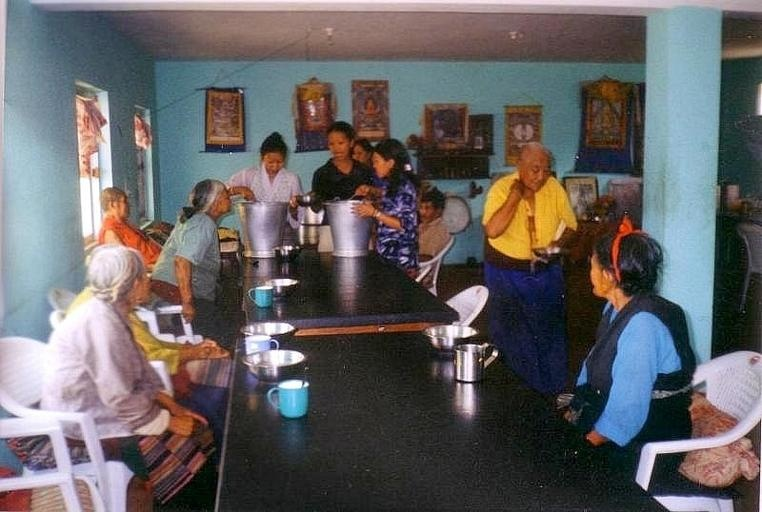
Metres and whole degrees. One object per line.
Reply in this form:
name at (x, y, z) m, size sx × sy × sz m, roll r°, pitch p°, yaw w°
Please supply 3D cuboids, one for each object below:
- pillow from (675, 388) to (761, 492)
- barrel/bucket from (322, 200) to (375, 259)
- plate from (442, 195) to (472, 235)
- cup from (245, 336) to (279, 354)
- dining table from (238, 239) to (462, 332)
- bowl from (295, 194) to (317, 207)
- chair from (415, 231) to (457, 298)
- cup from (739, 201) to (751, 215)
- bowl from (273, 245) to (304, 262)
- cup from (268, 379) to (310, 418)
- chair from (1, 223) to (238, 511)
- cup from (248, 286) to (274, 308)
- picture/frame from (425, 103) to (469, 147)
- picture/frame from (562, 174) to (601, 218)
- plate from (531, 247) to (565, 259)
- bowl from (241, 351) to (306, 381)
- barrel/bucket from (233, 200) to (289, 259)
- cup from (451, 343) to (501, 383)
pillow at (0.927, 0.494, 1.777) m, size 0.234 × 0.267 × 0.118 m, roll -5°, pitch -3°, yaw 14°
barrel/bucket at (-0.143, -0.121, 2.873) m, size 0.257 × 0.191 × 0.263 m, roll 1°, pitch 14°, yaw 0°
plate at (0.295, -0.157, 2.423) m, size 0.118 × 0.131 × 0.048 m, roll 20°, pitch 29°, yaw 26°
cup at (-0.339, 0.245, 1.766) m, size 0.095 × 0.051 × 0.056 m, roll 1°, pitch -2°, yaw -18°
dining table at (-0.177, 0.131, 2.454) m, size 0.712 × 0.195 × 0.917 m, roll -3°, pitch 5°, yaw -13°
bowl at (-0.320, -0.230, 2.668) m, size 0.058 × 0.031 × 0.045 m, roll -8°, pitch 13°, yaw -31°
chair at (0.196, 0.040, 2.983) m, size 0.267 × 0.293 × 0.240 m, roll 3°, pitch 18°, yaw -1°
cup at (1.259, -0.169, 2.201) m, size 0.041 × 0.045 × 0.091 m, roll 0°, pitch 6°, yaw 24°
bowl at (-0.410, -0.009, 2.849) m, size 0.096 × 0.038 × 0.076 m, roll -3°, pitch 6°, yaw -43°
cup at (-0.224, 0.343, 1.501) m, size 0.107 × 0.064 × 0.060 m, roll -1°, pitch 7°, yaw -8°
chair at (-1.049, 0.327, 2.552) m, size 0.832 × 1.256 × 0.728 m, roll -3°, pitch 9°, yaw -36°
cup at (-0.412, 0.150, 2.229) m, size 0.064 × 0.062 × 0.093 m, roll 1°, pitch 1°, yaw 12°
picture/frame at (0.227, -0.458, 2.229) m, size 0.154 × 0.155 × 0.039 m, roll -3°, pitch 6°, yaw 0°
picture/frame at (0.734, -0.209, 2.339) m, size 0.006 × 0.161 × 0.135 m, roll -13°, pitch 11°, yaw -38°
plate at (0.682, -0.013, 2.589) m, size 0.153 × 0.039 × 0.069 m, roll -9°, pitch 16°, yaw -25°
bowl at (-0.275, 0.278, 1.662) m, size 0.154 × 0.048 × 0.148 m, roll -1°, pitch -2°, yaw 0°
barrel/bucket at (-0.516, -0.112, 2.732) m, size 0.259 × 0.220 × 0.236 m, roll 2°, pitch 17°, yaw -1°
cup at (0.253, 0.278, 1.661) m, size 0.130 × 0.080 × 0.068 m, roll -3°, pitch 11°, yaw -5°
